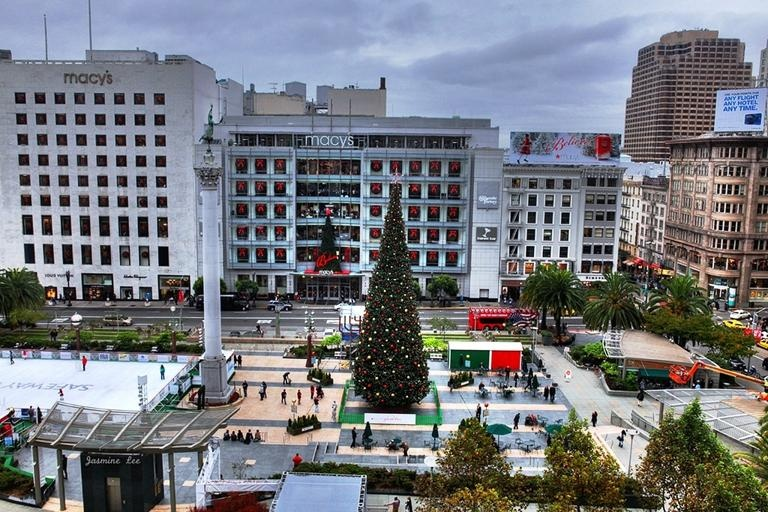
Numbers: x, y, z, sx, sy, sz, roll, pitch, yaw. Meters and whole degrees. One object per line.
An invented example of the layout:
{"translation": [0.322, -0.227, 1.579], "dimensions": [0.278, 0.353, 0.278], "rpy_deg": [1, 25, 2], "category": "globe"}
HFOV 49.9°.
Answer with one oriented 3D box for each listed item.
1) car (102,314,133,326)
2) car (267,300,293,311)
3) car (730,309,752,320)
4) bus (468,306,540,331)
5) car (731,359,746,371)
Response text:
{"translation": [-46.542, 11.236, 142.728], "dimensions": [4.361, 1.365, 2.273], "rpy_deg": [-1, 9, -2], "category": "car"}
{"translation": [-19.568, 9.229, 152.851], "dimensions": [3.592, 1.549, 2.149], "rpy_deg": [-2, 4, 0], "category": "car"}
{"translation": [64.649, 10.595, 148.917], "dimensions": [4.259, 1.321, 1.896], "rpy_deg": [-7, 12, -23], "category": "car"}
{"translation": [20.411, 10.999, 142.955], "dimensions": [12.663, 4.229, 4.340], "rpy_deg": [-1, 0, -1], "category": "bus"}
{"translation": [55.063, 17.209, 127.944], "dimensions": [1.795, 1.264, 3.808], "rpy_deg": [0, 15, 8], "category": "car"}
